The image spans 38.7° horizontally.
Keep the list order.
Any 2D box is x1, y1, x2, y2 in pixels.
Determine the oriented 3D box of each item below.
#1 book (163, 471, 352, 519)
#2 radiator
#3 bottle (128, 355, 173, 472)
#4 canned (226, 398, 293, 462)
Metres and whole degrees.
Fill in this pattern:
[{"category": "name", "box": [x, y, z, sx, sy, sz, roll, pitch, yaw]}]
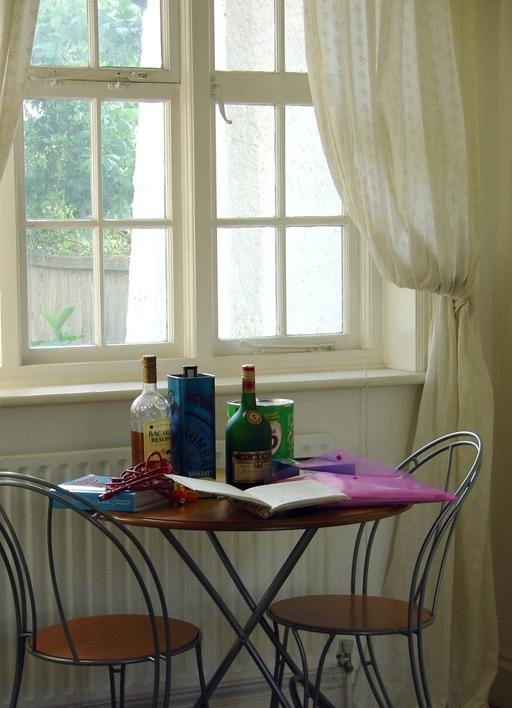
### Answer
[{"category": "book", "box": [0.003, 0.240, 1.238, 0.302, 0.052, 0.215, -1, 4, -8]}, {"category": "radiator", "box": [-0.214, 0.480, 1.620, 0.761, 0.578, 0.035, 0, 4, -13]}, {"category": "bottle", "box": [-0.207, 0.109, 1.437, 0.077, 0.208, 0.060, -1, 3, -8]}, {"category": "canned", "box": [-0.002, 0.137, 1.453, 0.117, 0.137, 0.120, 1, 2, 24]}]
